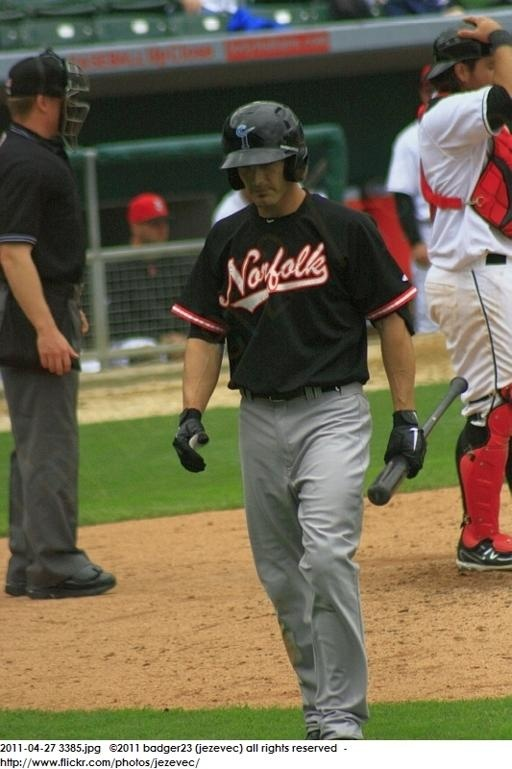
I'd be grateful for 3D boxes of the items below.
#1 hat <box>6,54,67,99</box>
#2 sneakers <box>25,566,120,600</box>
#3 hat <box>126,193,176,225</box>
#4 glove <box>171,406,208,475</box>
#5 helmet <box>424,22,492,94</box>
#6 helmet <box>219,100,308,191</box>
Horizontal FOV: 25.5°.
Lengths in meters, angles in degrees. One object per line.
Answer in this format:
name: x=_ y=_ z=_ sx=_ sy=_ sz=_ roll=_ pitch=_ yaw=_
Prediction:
hat: x=-0.715 y=-1.019 z=3.783 sx=0.207 sy=0.106 sz=0.127 roll=-21 pitch=39 yaw=-22
sneakers: x=-0.655 y=0.678 z=3.988 sx=0.313 sy=0.120 sz=0.108 roll=-5 pitch=7 yaw=-12
hat: x=-0.766 y=-1.199 z=7.749 sx=0.219 sy=0.134 sz=0.271 roll=-11 pitch=13 yaw=-17
glove: x=-0.142 y=0.158 z=2.750 sx=0.106 sy=0.060 sz=0.165 roll=-7 pitch=23 yaw=-9
helmet: x=0.693 y=-1.116 z=3.815 sx=0.287 sy=0.181 sz=0.191 roll=-7 pitch=12 yaw=21
helmet: x=-0.003 y=-0.589 z=2.755 sx=0.224 sy=0.180 sz=0.255 roll=4 pitch=23 yaw=18
